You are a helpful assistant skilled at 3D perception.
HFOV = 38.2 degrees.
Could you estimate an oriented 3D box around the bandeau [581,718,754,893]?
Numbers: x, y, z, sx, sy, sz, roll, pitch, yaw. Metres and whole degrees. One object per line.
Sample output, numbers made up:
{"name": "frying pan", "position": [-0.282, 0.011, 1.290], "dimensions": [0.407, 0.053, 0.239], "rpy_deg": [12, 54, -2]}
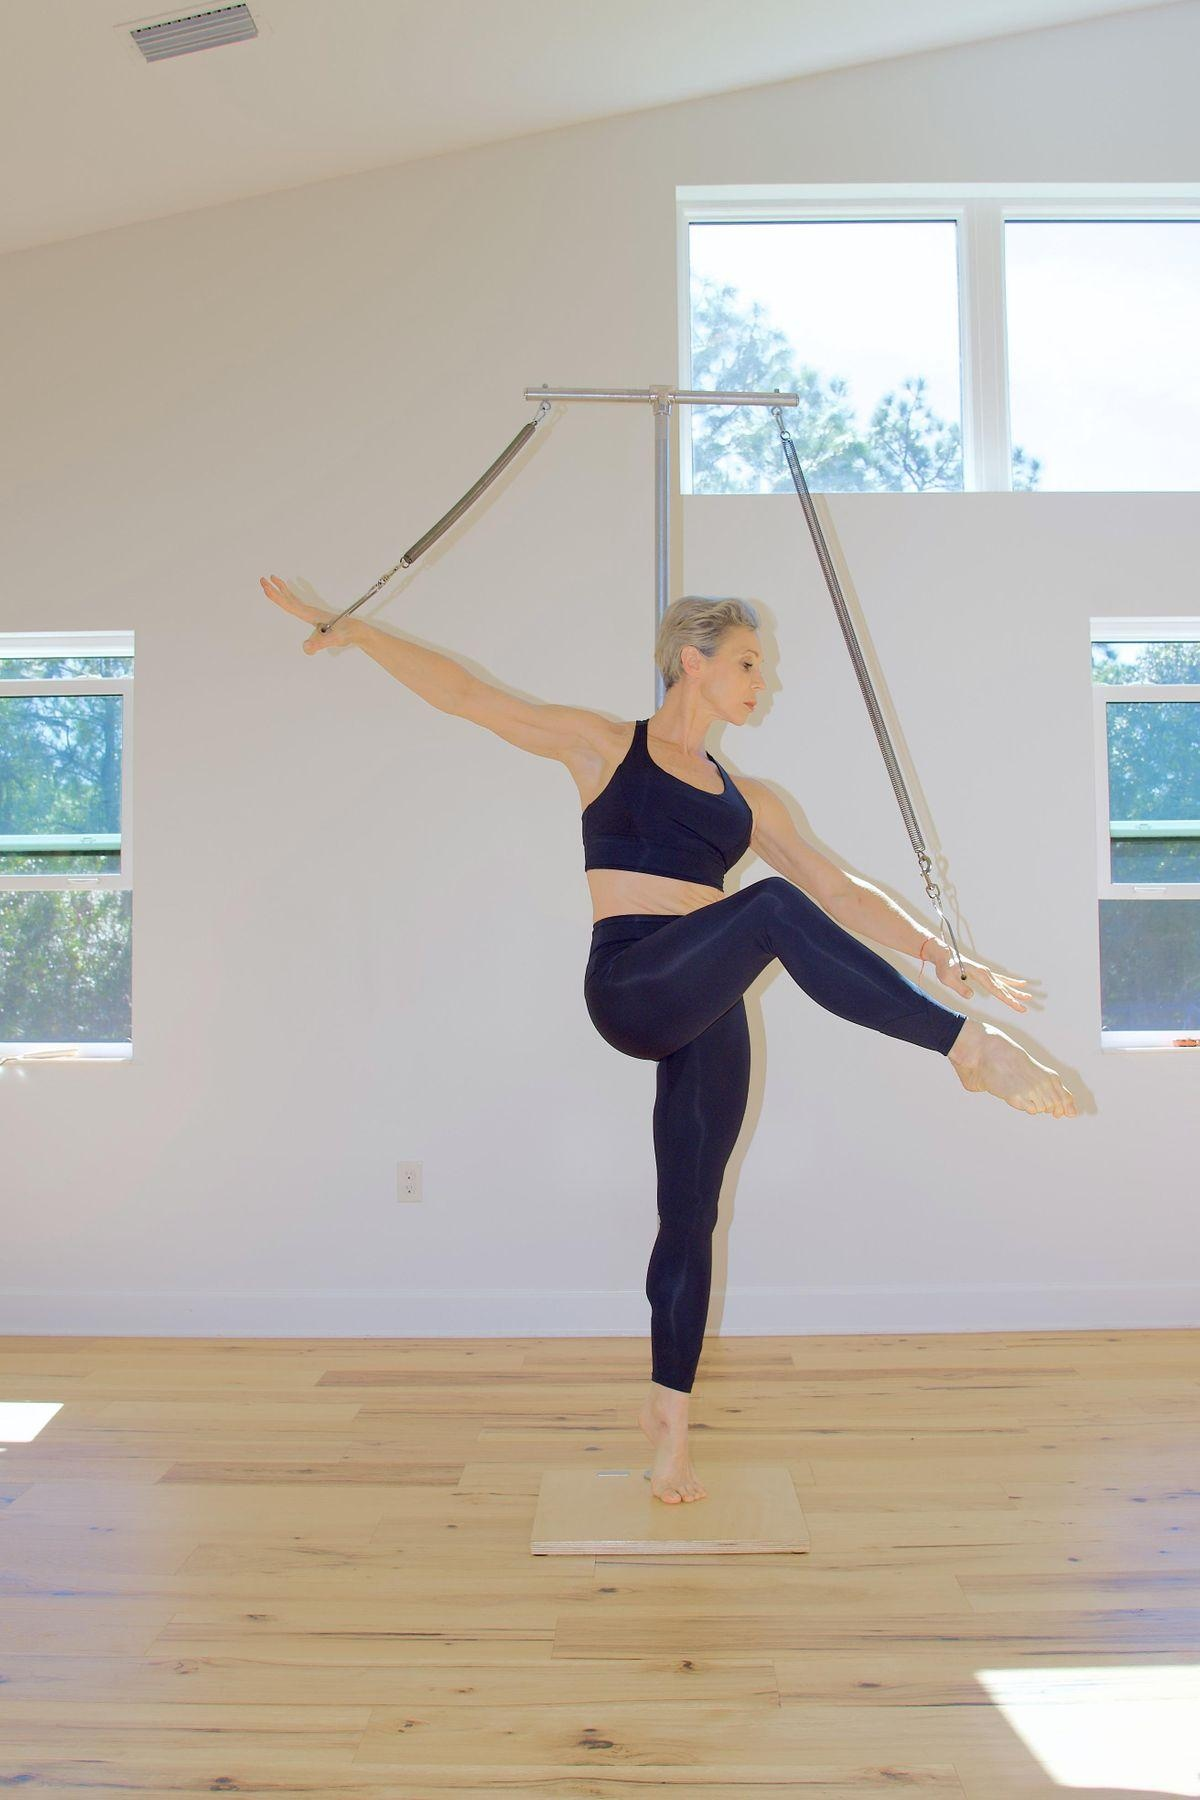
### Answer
{"name": "bandeau", "position": [0.139, -0.164, 3.117], "dimensions": [0.302, 0.301, 0.231], "rpy_deg": [10, -16, 3]}

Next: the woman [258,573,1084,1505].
{"name": "woman", "position": [0.057, 0.419, 3.975], "dimensions": [2.043, 2.180, 1.166], "rpy_deg": [-9, -20, 14]}
